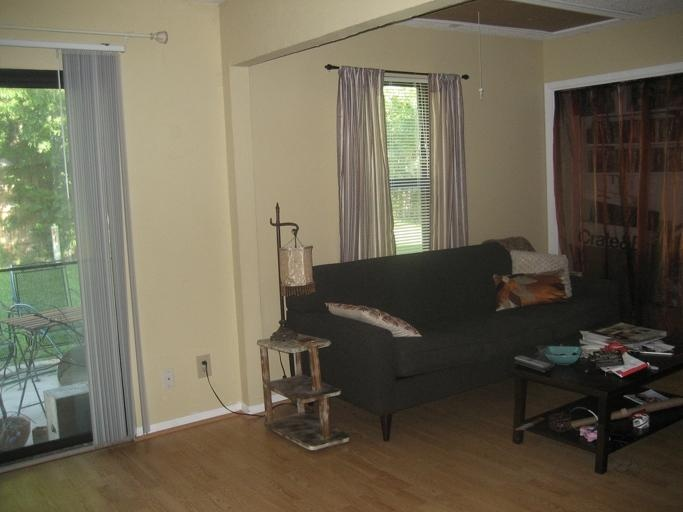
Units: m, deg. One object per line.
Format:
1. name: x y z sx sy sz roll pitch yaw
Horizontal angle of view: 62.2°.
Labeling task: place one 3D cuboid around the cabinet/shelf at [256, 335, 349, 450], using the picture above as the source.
1. cabinet/shelf: -0.235 0.973 4.218 0.542 0.824 0.890 -4 4 -34

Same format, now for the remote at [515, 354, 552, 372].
1. remote: 1.267 0.693 3.691 0.091 0.033 0.149 -7 11 -36

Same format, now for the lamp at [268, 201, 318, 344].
1. lamp: -0.382 0.104 4.260 0.348 0.961 0.717 -5 13 -3

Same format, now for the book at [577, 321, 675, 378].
1. book: 1.994 0.622 3.933 0.406 0.085 0.376 -13 13 -43
